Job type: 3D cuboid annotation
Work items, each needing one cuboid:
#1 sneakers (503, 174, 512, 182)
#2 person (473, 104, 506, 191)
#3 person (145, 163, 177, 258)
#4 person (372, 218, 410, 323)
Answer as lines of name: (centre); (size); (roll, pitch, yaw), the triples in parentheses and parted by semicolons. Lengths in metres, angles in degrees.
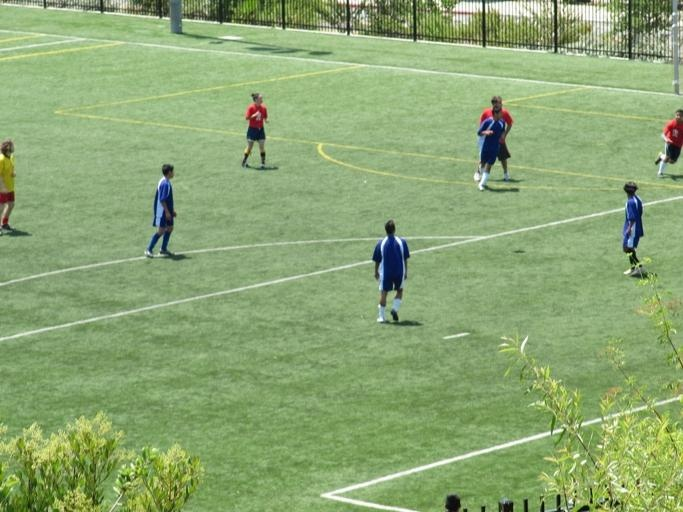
sneakers: (3.745, -1.823, 34.282); (0.174, 0.173, 0.153); (-6, 19, -39)
person: (3.330, -2.449, 33.432); (0.587, 1.938, 0.559); (2, 10, 13)
person: (-3.551, -0.947, 29.808); (0.596, 1.837, 1.157); (-2, 10, -7)
person: (0.862, 0.222, 26.533); (0.598, 1.804, 0.602); (-2, 10, -7)
